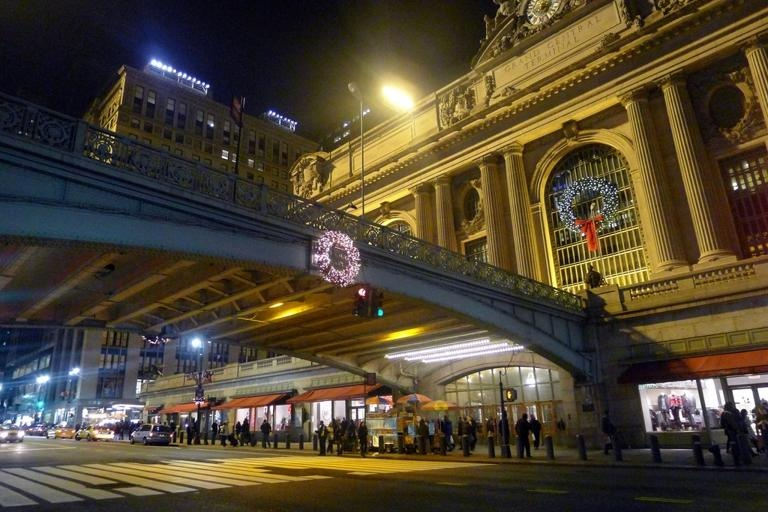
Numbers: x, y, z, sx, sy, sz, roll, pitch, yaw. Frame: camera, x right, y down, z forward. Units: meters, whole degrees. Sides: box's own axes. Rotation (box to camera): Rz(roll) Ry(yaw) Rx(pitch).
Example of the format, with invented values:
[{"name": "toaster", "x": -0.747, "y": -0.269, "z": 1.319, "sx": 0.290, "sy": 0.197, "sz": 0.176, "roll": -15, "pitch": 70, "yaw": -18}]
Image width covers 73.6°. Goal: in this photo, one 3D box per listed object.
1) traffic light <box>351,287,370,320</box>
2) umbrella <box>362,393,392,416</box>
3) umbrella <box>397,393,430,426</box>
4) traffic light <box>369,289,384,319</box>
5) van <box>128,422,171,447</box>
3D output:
[{"name": "traffic light", "x": -1.000, "y": 2.130, "z": 23.537, "sx": 0.700, "sy": 1.411, "sz": 0.476, "roll": 8, "pitch": -26, "yaw": -19}, {"name": "umbrella", "x": -0.356, "y": 11.764, "z": 40.485, "sx": 2.425, "sy": 1.185, "sz": 2.325, "roll": 7, "pitch": -22, "yaw": -16}, {"name": "umbrella", "x": 2.126, "y": 10.817, "z": 36.932, "sx": 2.702, "sy": 2.311, "sz": 2.675, "roll": 0, "pitch": -28, "yaw": 2}, {"name": "traffic light", "x": -0.316, "y": 2.186, "z": 23.799, "sx": 0.369, "sy": 1.450, "sz": 0.737, "roll": -10, "pitch": -26, "yaw": 20}, {"name": "van", "x": -21.748, "y": 16.774, "z": 48.085, "sx": 4.280, "sy": 2.014, "sz": 1.881, "roll": -23, "pitch": -32, "yaw": 40}]
